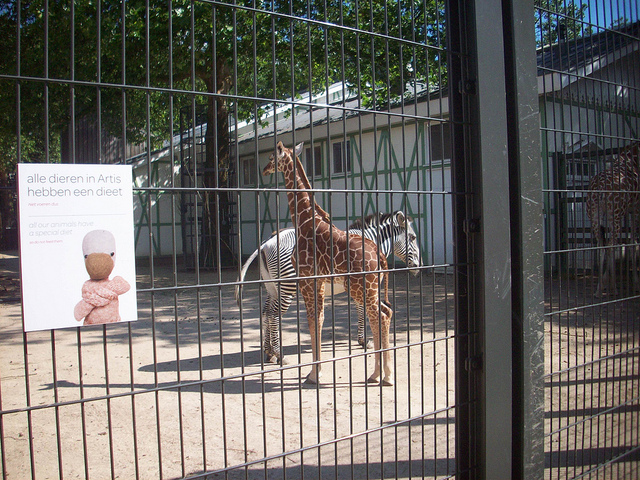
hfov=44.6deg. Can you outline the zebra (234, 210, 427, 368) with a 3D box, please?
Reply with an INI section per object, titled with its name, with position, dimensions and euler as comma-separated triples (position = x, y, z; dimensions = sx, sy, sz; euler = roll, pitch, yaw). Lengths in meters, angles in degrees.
[zebra]
position = 0.114, 0.423, 7.862
dimensions = 1.847, 1.735, 0.576
euler = 0, 13, -14
